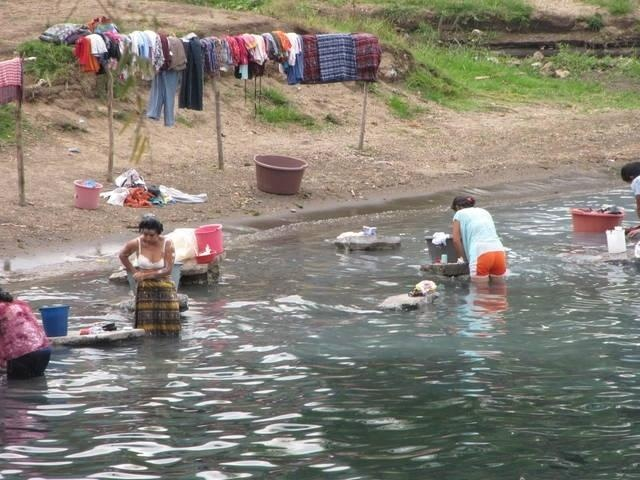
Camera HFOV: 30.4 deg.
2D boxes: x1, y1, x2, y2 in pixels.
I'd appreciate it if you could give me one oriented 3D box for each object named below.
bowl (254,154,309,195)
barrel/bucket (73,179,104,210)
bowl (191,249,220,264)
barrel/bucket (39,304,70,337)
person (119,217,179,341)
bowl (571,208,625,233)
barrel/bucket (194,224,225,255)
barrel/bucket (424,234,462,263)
[{"bbox_3d":[-0.971,-1.537,27.797,1.303,0.566,1.220,6,18,-2],"label":"bowl"},{"bbox_3d":[-4.861,-0.974,25.145,0.749,0.488,0.667,4,4,-4],"label":"barrel/bucket"},{"bbox_3d":[-2.096,0.286,21.867,0.460,0.253,0.151,-6,6,-40],"label":"bowl"},{"bbox_3d":[-4.373,1.295,19.402,0.605,0.398,0.531,-5,-2,-7],"label":"barrel/bucket"},{"bbox_3d":[-2.879,0.572,19.973,0.852,1.992,0.664,-4,6,-8],"label":"person"},{"bbox_3d":[5.649,-0.416,24.094,0.883,0.273,0.593,0,6,-2],"label":"bowl"},{"bbox_3d":[-2.020,-0.030,22.118,0.633,0.445,0.579,-3,12,1],"label":"barrel/bucket"},{"bbox_3d":[2.319,0.157,22.476,0.600,0.355,0.576,0,4,0],"label":"barrel/bucket"}]
